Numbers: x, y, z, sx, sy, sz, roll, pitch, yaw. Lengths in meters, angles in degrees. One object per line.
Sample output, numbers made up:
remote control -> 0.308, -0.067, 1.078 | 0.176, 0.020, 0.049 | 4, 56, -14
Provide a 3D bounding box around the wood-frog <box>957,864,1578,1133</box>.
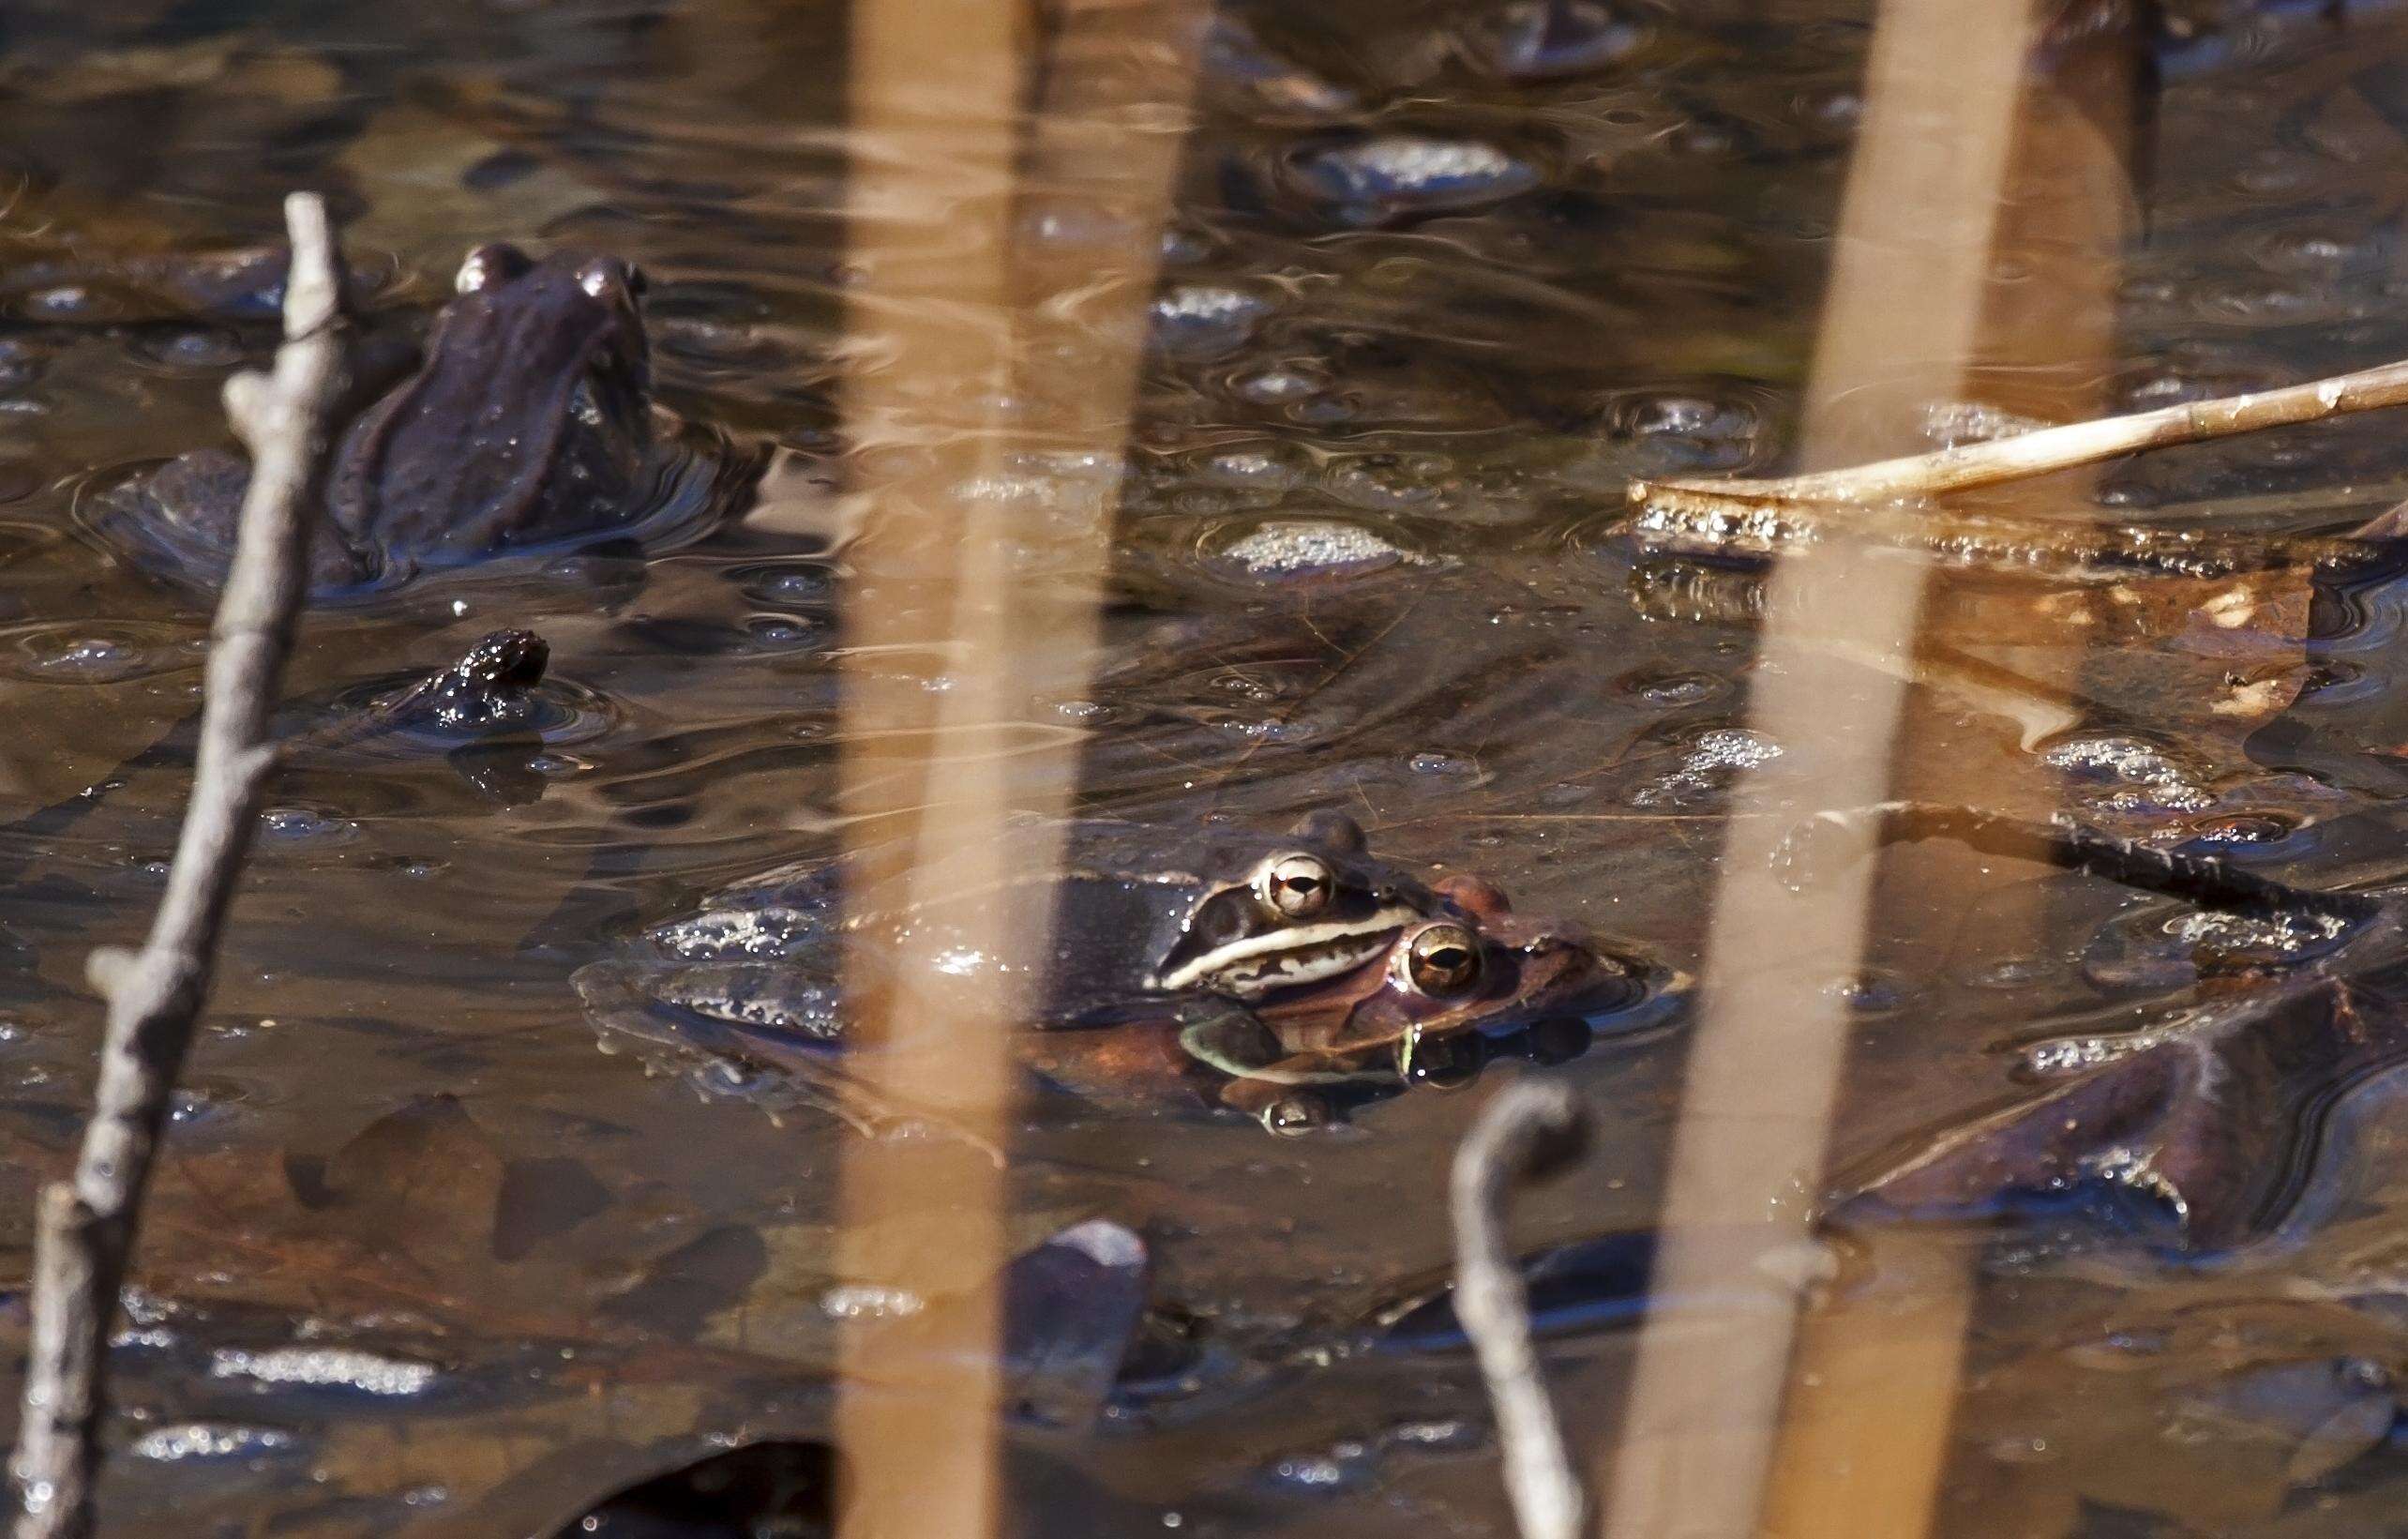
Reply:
wood-frog -> 0.167, 0.342, 4.282 | 0.865, 0.387, 0.364 | 2, 27, 7
